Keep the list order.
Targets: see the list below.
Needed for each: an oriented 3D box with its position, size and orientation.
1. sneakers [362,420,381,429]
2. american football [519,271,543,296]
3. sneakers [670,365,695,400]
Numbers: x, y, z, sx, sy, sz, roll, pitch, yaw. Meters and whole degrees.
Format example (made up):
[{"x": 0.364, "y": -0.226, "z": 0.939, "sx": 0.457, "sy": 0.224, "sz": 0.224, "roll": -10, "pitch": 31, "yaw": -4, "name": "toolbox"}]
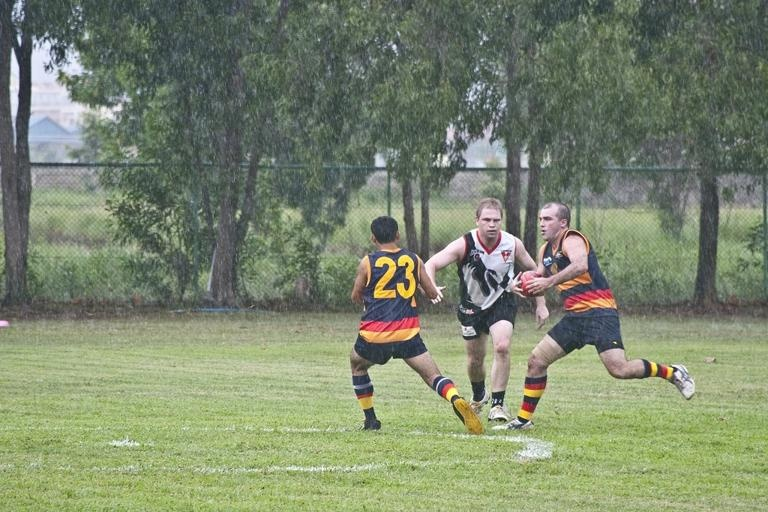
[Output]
[{"x": -0.204, "y": 2.738, "z": 24.451, "sx": 0.318, "sy": 0.166, "sz": 0.118, "roll": 1, "pitch": -1, "yaw": -5, "name": "sneakers"}, {"x": 2.392, "y": 0.426, "z": 24.663, "sx": 0.285, "sy": 0.383, "sz": 0.421, "roll": -2, "pitch": 6, "yaw": 6, "name": "american football"}, {"x": 5.001, "y": 2.114, "z": 25.070, "sx": 0.219, "sy": 0.579, "sz": 0.245, "roll": -40, "pitch": -24, "yaw": 31, "name": "sneakers"}]
